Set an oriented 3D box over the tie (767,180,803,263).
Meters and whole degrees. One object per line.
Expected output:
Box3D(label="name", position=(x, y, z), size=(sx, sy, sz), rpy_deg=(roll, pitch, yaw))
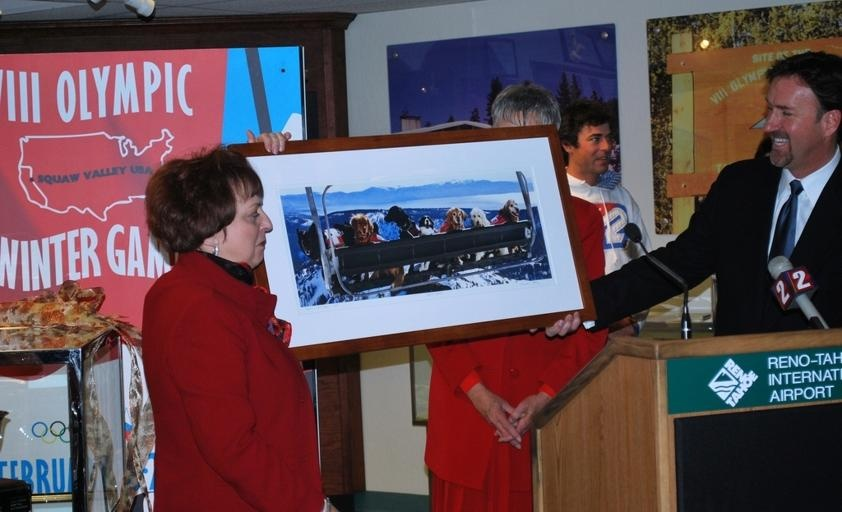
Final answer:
Box3D(label="tie", position=(1.715, -0.130, 4.064), size=(0.087, 0.374, 0.039), rpy_deg=(12, 10, 34))
